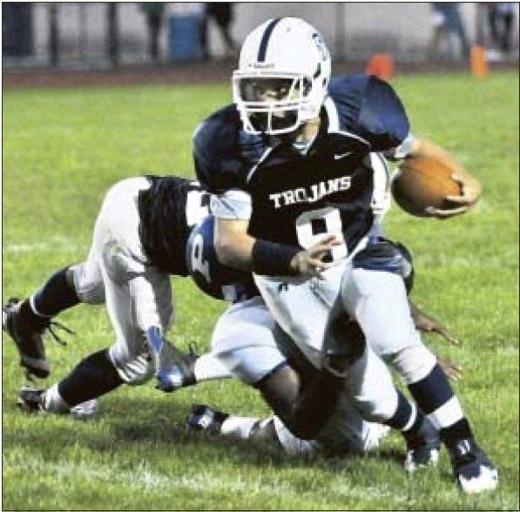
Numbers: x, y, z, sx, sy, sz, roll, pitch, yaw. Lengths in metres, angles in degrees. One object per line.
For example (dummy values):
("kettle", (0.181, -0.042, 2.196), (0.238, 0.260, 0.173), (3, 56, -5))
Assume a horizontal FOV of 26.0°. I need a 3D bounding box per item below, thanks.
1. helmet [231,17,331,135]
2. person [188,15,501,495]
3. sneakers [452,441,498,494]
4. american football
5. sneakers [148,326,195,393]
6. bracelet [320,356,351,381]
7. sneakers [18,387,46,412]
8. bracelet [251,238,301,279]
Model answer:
("helmet", (0.106, -0.713, 4.277), (0.303, 0.382, 0.440), (7, 29, 31))
("person", (0.324, -0.015, 4.364), (1.120, 1.775, 0.451), (3, 10, 12))
("sneakers", (0.809, 0.812, 4.262), (0.123, 0.236, 0.088), (-23, -2, -1))
("american football", (0.648, -0.255, 4.472), (0.238, 0.234, 0.200), (-1, -2, 8))
("sneakers", (-0.350, 0.461, 4.674), (0.178, 0.374, 0.120), (-5, 46, 11))
("bracelet", (0.295, 0.439, 4.289), (0.090, 0.078, 0.029), (5, 17, 31))
("sneakers", (-0.971, 0.634, 4.813), (0.105, 0.086, 0.047), (3, 4, 29))
("bracelet", (0.062, 0.015, 4.142), (0.144, 0.120, 0.079), (6, 37, 28))
